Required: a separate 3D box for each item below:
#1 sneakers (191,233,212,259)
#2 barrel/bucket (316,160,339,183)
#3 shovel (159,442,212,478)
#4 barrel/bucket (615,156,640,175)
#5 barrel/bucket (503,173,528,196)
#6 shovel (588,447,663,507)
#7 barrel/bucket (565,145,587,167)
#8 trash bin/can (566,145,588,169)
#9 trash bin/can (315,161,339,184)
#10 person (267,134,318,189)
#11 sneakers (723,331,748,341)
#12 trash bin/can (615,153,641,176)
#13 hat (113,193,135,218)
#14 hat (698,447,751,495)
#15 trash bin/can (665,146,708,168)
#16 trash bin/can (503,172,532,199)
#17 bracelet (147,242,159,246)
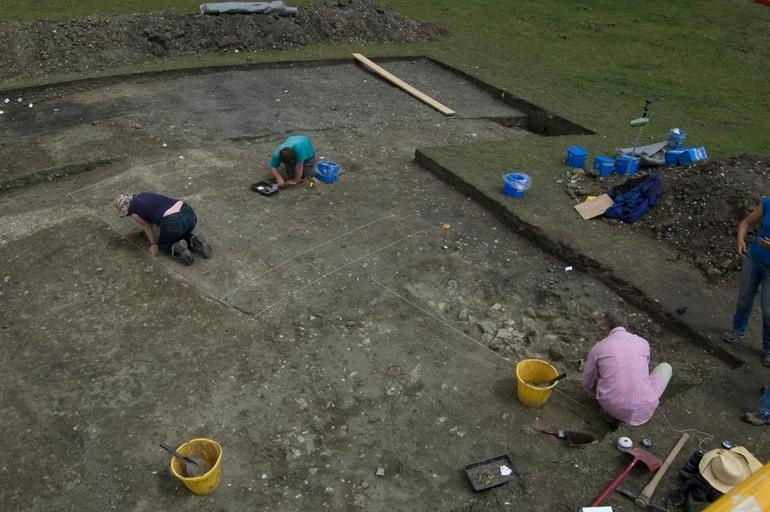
[{"bbox_3d":[-2.910,-0.153,9.180,0.206,0.210,0.508,-41,52,-21],"label":"sneakers"},{"bbox_3d":[-1.156,-1.573,10.867,0.495,0.407,0.348,19,32,23],"label":"barrel/bucket"},{"bbox_3d":[-2.433,2.517,7.062,0.125,0.841,0.265,-26,33,41],"label":"shovel"},{"bbox_3d":[4.537,-1.685,10.763,0.446,0.315,0.294,16,48,15],"label":"barrel/bucket"},{"bbox_3d":[2.372,-1.292,10.310,0.461,0.276,0.433,-4,32,3],"label":"barrel/bucket"},{"bbox_3d":[2.971,2.631,7.005,1.124,0.114,0.434,-23,33,-31],"label":"shovel"},{"bbox_3d":[3.789,-1.941,11.144,0.466,0.307,0.398,-6,33,-12],"label":"barrel/bucket"},{"bbox_3d":[3.688,-1.888,11.153,0.477,0.313,0.407,1,32,-1],"label":"trash bin/can"},{"bbox_3d":[-1.004,-1.598,10.951,0.499,0.420,0.355,21,33,24],"label":"trash bin/can"},{"bbox_3d":[-1.728,-1.729,10.645,0.608,0.832,0.893,25,51,21],"label":"person"},{"bbox_3d":[4.983,1.132,8.202,0.288,0.101,0.125,-6,40,-3],"label":"sneakers"},{"bbox_3d":[4.567,-1.687,10.791,0.430,0.280,0.280,-18,46,-31],"label":"trash bin/can"},{"bbox_3d":[-4.131,-0.822,9.319,0.298,0.389,0.533,23,4,-9],"label":"hat"},{"bbox_3d":[4.079,2.476,6.861,0.613,0.258,0.436,-21,49,-20],"label":"hat"},{"bbox_3d":[5.702,-1.943,10.816,0.636,0.234,0.475,-21,36,-36],"label":"trash bin/can"},{"bbox_3d":[2.363,-1.284,10.328,0.503,0.298,0.469,-1,32,5],"label":"trash bin/can"},{"bbox_3d":[-3.708,-0.190,9.286,0.088,0.054,0.080,0,16,-12],"label":"bracelet"}]
